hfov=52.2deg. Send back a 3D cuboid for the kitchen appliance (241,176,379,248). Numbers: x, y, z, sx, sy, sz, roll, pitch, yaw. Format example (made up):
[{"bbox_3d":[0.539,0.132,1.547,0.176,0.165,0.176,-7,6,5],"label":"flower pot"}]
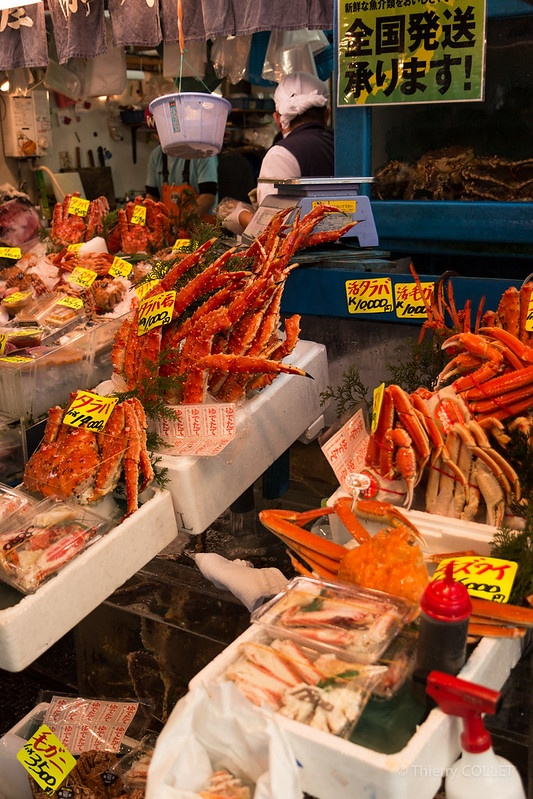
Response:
[{"bbox_3d":[0.202,-0.711,2.325,0.545,0.280,0.424,-7,17,-25],"label":"kitchen appliance"}]

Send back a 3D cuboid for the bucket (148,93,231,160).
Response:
[{"bbox_3d":[-0.346,-1.273,2.513,0.346,0.214,0.430,-7,18,-19],"label":"bucket"}]
